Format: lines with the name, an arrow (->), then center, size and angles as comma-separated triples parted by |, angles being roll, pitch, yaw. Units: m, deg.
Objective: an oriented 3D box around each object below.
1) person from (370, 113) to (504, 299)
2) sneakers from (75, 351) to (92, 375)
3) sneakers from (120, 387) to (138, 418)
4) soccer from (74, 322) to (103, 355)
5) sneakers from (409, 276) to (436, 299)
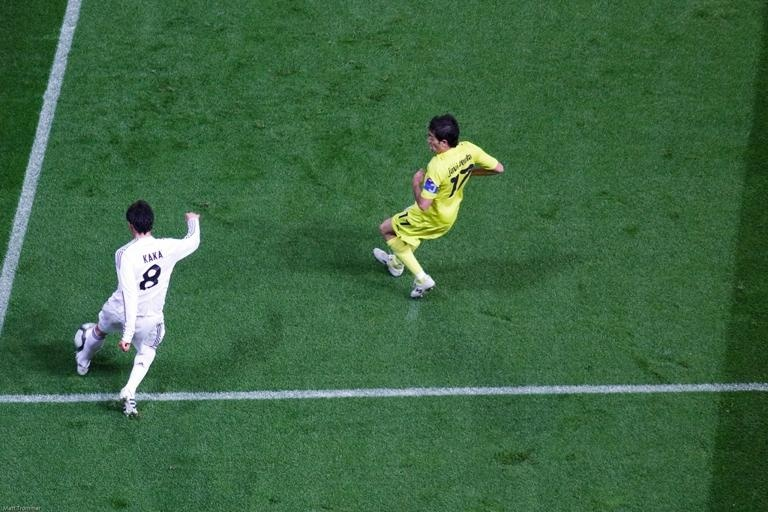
person -> 0.578, -0.550, 11.717 | 1.326, 2.289, 0.930 | 18, 30, 10
sneakers -> -3.537, 1.270, 11.415 | 0.165, 0.216, 0.319 | 6, 39, -15
sneakers -> -2.917, 1.666, 11.220 | 0.149, 0.393, 0.176 | -11, 34, -9
soccer -> -3.481, 0.909, 11.265 | 0.225, 0.390, 0.266 | 26, -14, -28
sneakers -> 0.470, 0.381, 11.942 | 0.218, 0.419, 0.160 | 26, 53, -18
